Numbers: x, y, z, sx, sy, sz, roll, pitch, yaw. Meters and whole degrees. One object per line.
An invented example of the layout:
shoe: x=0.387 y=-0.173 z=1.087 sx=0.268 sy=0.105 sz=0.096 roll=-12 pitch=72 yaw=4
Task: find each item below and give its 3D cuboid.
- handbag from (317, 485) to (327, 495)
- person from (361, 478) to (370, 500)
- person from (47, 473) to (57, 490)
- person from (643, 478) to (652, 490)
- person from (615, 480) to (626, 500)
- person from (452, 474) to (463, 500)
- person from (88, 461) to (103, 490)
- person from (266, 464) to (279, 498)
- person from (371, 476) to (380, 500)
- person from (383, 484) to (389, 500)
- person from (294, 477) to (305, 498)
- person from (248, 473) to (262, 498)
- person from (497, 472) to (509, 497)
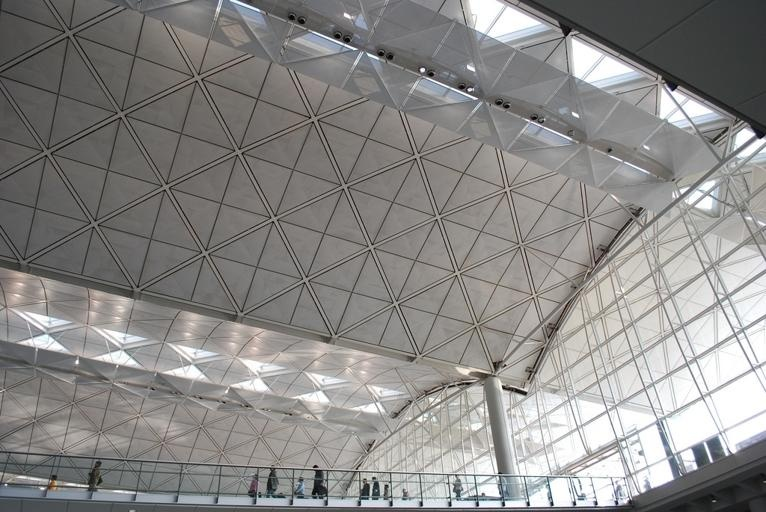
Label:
handbag: x=-3.617 y=13.695 z=34.726 sx=0.488 sy=0.455 sz=0.495 roll=18 pitch=-42 yaw=-38
person: x=-1.167 y=13.825 z=35.277 sx=0.555 sy=1.111 sz=0.283 roll=2 pitch=-42 yaw=-8
person: x=-17.985 y=12.210 z=32.157 sx=0.469 sy=0.852 sz=0.155 roll=-2 pitch=-42 yaw=-3
person: x=16.335 y=14.169 z=36.958 sx=0.262 sy=0.701 sz=0.652 roll=4 pitch=-41 yaw=-10
person: x=14.955 y=14.889 z=37.673 sx=0.652 sy=1.208 sz=0.159 roll=1 pitch=-42 yaw=-7
person: x=4.500 y=14.178 z=36.428 sx=0.556 sy=1.306 sz=0.421 roll=18 pitch=-46 yaw=-24
person: x=-15.914 y=11.999 z=32.452 sx=0.622 sy=1.420 sz=0.846 roll=-6 pitch=-41 yaw=1
person: x=-6.534 y=13.124 z=34.431 sx=0.690 sy=1.354 sz=0.679 roll=3 pitch=-42 yaw=-9
person: x=-0.525 y=13.831 z=35.401 sx=0.729 sy=0.909 sz=0.252 roll=-1 pitch=-9 yaw=-13
person: x=0.096 y=14.055 z=35.457 sx=0.431 sy=0.823 sz=0.229 roll=-3 pitch=-42 yaw=-2
person: x=-4.932 y=13.452 z=34.546 sx=0.581 sy=1.002 sz=0.534 roll=8 pitch=-43 yaw=-15
person: x=-7.549 y=13.199 z=34.225 sx=0.613 sy=1.323 sz=0.335 roll=4 pitch=-42 yaw=-11
person: x=7.399 y=14.288 z=36.822 sx=0.669 sy=1.384 sz=0.239 roll=14 pitch=-45 yaw=-20
